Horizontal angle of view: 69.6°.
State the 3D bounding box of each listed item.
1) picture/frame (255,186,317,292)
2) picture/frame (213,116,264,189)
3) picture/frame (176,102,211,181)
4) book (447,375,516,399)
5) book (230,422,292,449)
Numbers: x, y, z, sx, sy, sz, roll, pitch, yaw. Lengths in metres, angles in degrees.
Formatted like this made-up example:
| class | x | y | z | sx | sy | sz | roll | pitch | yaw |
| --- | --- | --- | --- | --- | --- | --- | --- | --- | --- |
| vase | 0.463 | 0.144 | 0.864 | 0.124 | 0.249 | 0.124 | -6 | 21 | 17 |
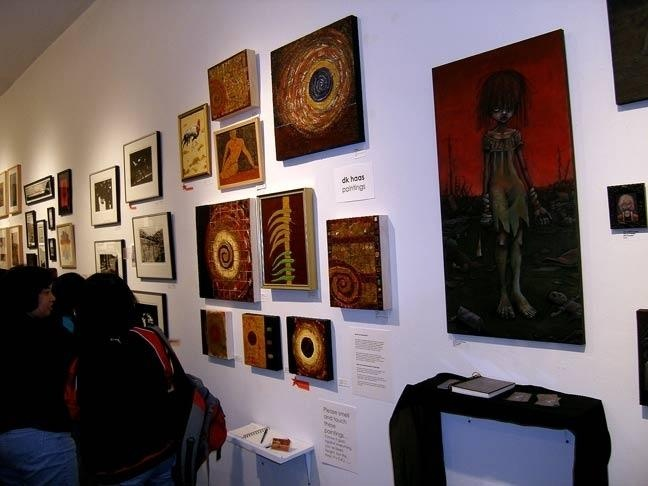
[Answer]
| class | x | y | z | sx | sy | sz | roll | pitch | yaw |
| --- | --- | --- | --- | --- | --- | --- | --- | --- | --- |
| picture/frame | -0.265 | -0.038 | 3.429 | 0.687 | 1.053 | 0.101 | -4 | -3 | 43 |
| picture/frame | -0.675 | -0.738 | 3.781 | 0.547 | 0.579 | 0.059 | -1 | 0 | 44 |
| picture/frame | -1.160 | -0.926 | 4.194 | 0.058 | 0.937 | 0.693 | -1 | 1 | -39 |
| book | 0.851 | 0.770 | 2.500 | 0.309 | 0.050 | 0.217 | -2 | -3 | -33 |
| book | -0.508 | 1.480 | 3.601 | 0.461 | 0.046 | 0.270 | -5 | -3 | 38 |
